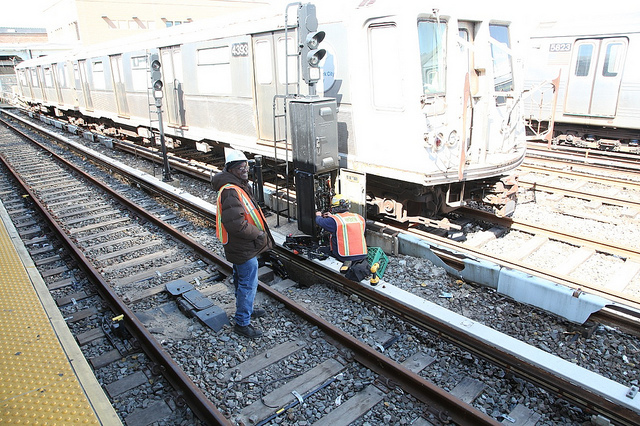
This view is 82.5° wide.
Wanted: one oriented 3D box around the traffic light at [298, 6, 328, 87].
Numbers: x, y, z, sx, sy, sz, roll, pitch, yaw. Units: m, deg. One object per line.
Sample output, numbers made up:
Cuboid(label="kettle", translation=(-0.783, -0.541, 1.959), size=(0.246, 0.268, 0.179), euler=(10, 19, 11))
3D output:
Cuboid(label="traffic light", translation=(-0.159, -3.150, 6.907), size=(0.474, 1.427, 0.428), euler=(-3, 22, -2))

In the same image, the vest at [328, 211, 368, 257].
Cuboid(label="vest", translation=(0.462, 0.392, 6.363), size=(0.674, 0.850, 0.465), euler=(-6, 21, -15))

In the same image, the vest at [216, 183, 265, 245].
Cuboid(label="vest", translation=(-1.285, 0.024, 5.354), size=(0.791, 0.912, 0.662), euler=(-18, 1, -21))

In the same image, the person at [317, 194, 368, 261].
Cuboid(label="person", translation=(0.366, 0.298, 6.686), size=(0.693, 1.161, 0.848), euler=(-15, 39, -12))

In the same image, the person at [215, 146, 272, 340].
Cuboid(label="person", translation=(-1.128, 0.509, 5.445), size=(0.720, 2.748, 0.845), euler=(-9, 22, -17))
